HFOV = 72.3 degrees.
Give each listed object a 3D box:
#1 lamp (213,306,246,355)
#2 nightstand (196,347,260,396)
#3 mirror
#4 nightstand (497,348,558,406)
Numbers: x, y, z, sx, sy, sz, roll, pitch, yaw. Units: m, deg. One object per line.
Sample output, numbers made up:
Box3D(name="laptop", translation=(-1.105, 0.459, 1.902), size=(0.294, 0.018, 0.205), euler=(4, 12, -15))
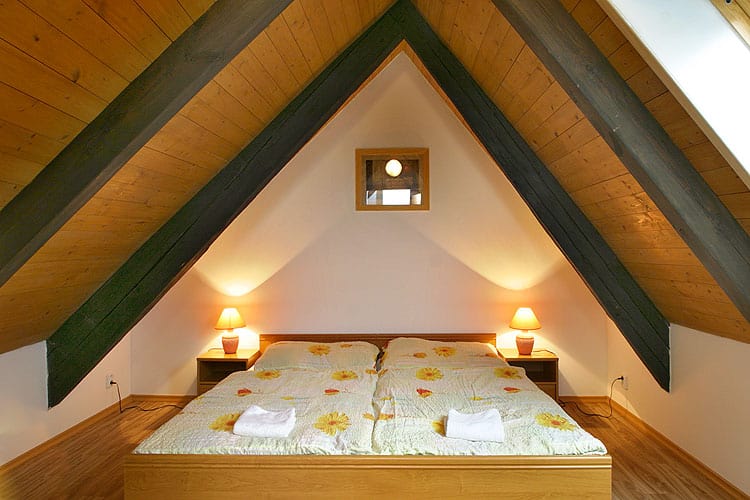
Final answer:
Box3D(name="lamp", translation=(-1.337, 0.742, 4.774), size=(0.292, 0.398, 0.273), euler=(-4, -3, -12))
Box3D(name="nightstand", translation=(-1.347, 1.075, 4.829), size=(0.569, 0.496, 0.428), euler=(0, -3, 0))
Box3D(name="mirror", translation=(0.155, -0.671, 4.839), size=(0.617, 0.490, 0.065), euler=(-1, 4, 2))
Box3D(name="nightstand", translation=(1.403, 1.172, 4.701), size=(0.453, 0.388, 0.329), euler=(1, -6, 8))
